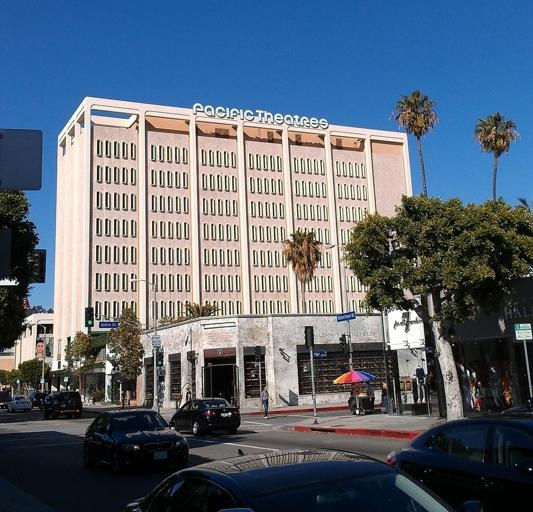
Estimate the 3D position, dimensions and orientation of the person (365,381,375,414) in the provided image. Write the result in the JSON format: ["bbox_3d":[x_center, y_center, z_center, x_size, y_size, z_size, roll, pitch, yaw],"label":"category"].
[{"bbox_3d":[5.651,7.786,32.231,0.432,1.303,1.738,-6,-12,13],"label":"person"}]
